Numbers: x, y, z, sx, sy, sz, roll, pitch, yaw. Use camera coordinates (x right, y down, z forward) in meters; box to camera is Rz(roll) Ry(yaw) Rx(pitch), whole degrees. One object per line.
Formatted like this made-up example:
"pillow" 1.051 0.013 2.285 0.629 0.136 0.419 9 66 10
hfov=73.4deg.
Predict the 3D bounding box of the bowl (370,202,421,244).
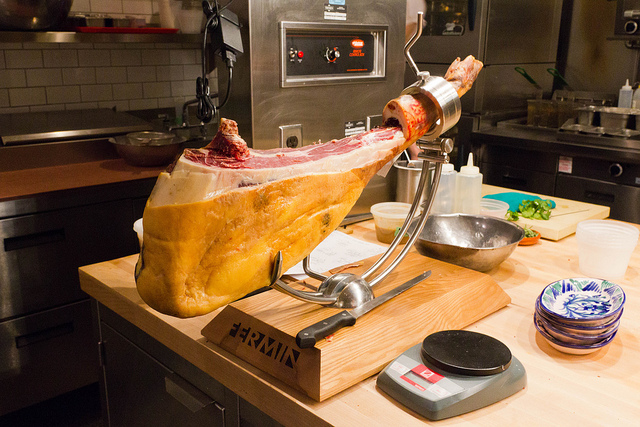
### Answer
"bowl" 0.267 0.013 1.571 0.162 0.118 0.161 1 9 0

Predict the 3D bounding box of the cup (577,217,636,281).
"cup" 0.915 0.107 1.418 0.204 0.161 0.170 0 10 -33

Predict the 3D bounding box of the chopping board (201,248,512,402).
"chopping board" 0.170 0.246 1.081 0.610 0.082 0.358 -14 21 -41

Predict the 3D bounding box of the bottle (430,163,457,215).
"bottle" 0.462 -0.095 1.581 0.088 0.184 0.230 6 20 17

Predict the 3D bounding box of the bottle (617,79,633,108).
"bottle" 2.416 -0.949 3.388 0.095 0.192 0.234 12 22 31

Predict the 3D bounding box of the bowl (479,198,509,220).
"bowl" 0.661 -0.024 1.634 0.096 0.035 0.097 -1 16 0

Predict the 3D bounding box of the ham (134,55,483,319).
"ham" -0.038 -0.028 0.862 0.446 0.518 0.440 20 22 41

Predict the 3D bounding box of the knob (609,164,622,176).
"knob" 2.070 -0.312 3.015 0.021 0.069 0.068 -1 14 -42

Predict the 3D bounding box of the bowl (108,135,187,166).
"bowl" -0.998 -0.361 2.522 0.255 0.083 0.250 1 17 0

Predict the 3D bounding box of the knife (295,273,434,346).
"knife" 0.100 0.124 0.865 0.062 0.033 0.418 40 38 24

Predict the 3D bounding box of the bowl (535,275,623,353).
"bowl" 0.653 0.254 1.080 0.212 0.137 0.142 -6 20 -18

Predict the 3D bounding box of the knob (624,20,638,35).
"knob" 2.382 -1.437 3.293 0.085 0.102 0.049 13 23 33

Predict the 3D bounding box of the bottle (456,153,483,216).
"bottle" 0.536 -0.101 1.540 0.097 0.219 0.305 7 20 20
